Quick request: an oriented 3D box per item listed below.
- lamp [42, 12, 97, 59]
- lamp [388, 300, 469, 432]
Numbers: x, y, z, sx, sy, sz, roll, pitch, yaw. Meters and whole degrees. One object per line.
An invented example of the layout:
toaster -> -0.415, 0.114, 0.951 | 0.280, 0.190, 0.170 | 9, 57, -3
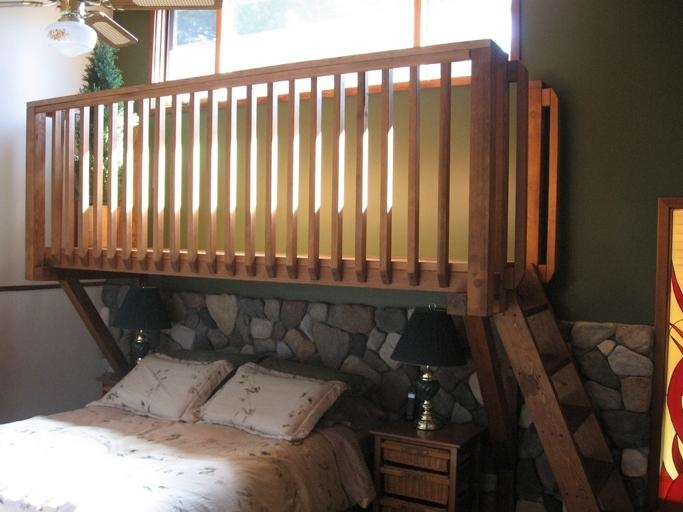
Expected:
lamp -> -1.548, -1.229, 3.684 | 0.215, 0.239, 0.226 | -1, -1, 28
lamp -> 0.618, 0.765, 4.505 | 0.513, 0.819, 0.435 | 0, 12, 11
